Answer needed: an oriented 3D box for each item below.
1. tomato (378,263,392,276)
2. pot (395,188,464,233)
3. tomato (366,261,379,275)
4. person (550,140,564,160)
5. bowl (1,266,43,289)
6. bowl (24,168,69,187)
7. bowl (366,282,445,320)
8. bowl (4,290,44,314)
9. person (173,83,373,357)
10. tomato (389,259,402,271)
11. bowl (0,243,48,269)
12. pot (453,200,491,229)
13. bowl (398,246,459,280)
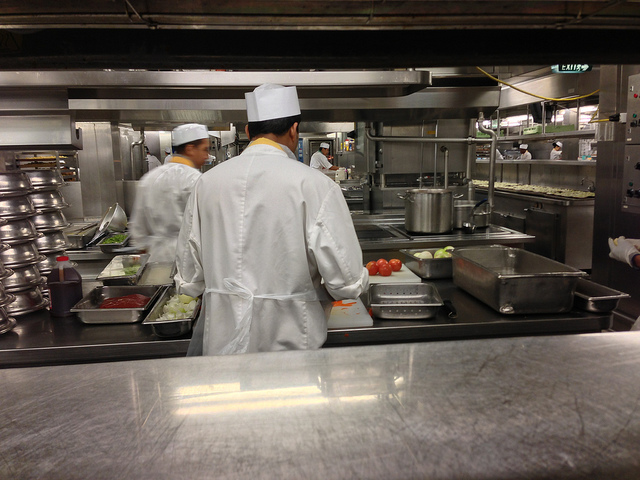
[{"bbox_3d":[0.393,0.182,2.624,0.069,0.064,0.068,1,0,-27],"label":"tomato"},{"bbox_3d":[0.926,-0.243,3.696,0.395,0.380,0.246,-1,9,12],"label":"pot"},{"bbox_3d":[0.322,0.174,2.643,0.071,0.082,0.070,2,-17,6],"label":"tomato"},{"bbox_3d":[4.600,-1.741,8.442,0.151,0.391,1.046,1,9,26],"label":"person"},{"bbox_3d":[-1.467,0.179,2.134,0.138,0.052,0.136,0,1,0],"label":"bowl"},{"bbox_3d":[-1.550,-0.351,2.478,0.121,0.098,0.274,-2,8,7],"label":"bowl"},{"bbox_3d":[0.418,0.307,2.189,0.370,0.084,0.377,-5,9,1],"label":"bowl"},{"bbox_3d":[-1.450,0.303,2.125,0.146,0.055,0.143,0,1,0],"label":"bowl"},{"bbox_3d":[-0.238,-0.068,1.841,0.852,1.180,0.314,-3,9,-1],"label":"person"},{"bbox_3d":[0.476,0.160,2.748,0.070,0.066,0.068,-3,4,-12],"label":"tomato"},{"bbox_3d":[-1.435,0.073,2.118,0.057,0.113,0.183,2,10,31],"label":"bowl"},{"bbox_3d":[1.357,-0.239,3.907,0.307,0.142,0.227,-1,4,-2],"label":"pot"},{"bbox_3d":[0.706,0.150,2.803,0.297,0.167,0.308,-3,8,0],"label":"bowl"}]
